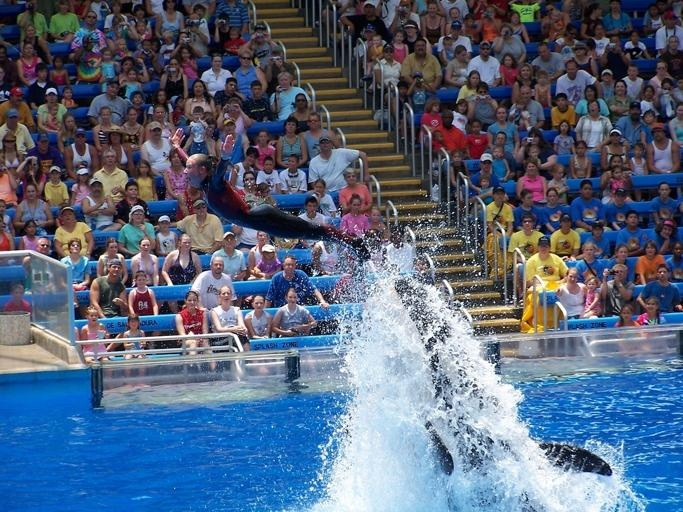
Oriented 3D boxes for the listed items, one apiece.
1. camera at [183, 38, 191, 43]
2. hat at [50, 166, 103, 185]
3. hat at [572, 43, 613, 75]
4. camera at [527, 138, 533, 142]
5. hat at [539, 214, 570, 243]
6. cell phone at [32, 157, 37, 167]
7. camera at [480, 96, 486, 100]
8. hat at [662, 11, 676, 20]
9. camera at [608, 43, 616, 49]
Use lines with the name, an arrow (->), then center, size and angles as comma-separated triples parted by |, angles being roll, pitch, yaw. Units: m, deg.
camera -> -3.080, -4.263, 33.273 | 0.104, 0.112, 0.036 | 4, -19, 3
hat -> -4.974, -1.494, 30.986 | 0.533, 0.235, 0.395 | -11, -12, 38
hat -> 5.053, -4.002, 34.371 | 0.541, 0.748, 0.355 | 6, 1, 20
camera -> 3.594, -2.232, 32.239 | 0.151, 0.094, 0.085 | 7, 5, 29
hat -> 3.976, -0.581, 31.010 | 0.434, 0.391, 0.614 | -5, 4, -3
cell phone -> -5.605, -1.736, 30.704 | 0.085, 0.148, 0.146 | -3, 11, -5
camera -> 2.726, -3.075, 32.755 | 0.072, 0.073, 0.018 | 4, -4, 10
hat -> 6.875, -5.038, 35.454 | 0.232, 0.135, 0.180 | -7, 28, 18
camera -> 5.552, -4.332, 34.662 | 0.135, 0.105, 0.094 | -1, 1, 0
